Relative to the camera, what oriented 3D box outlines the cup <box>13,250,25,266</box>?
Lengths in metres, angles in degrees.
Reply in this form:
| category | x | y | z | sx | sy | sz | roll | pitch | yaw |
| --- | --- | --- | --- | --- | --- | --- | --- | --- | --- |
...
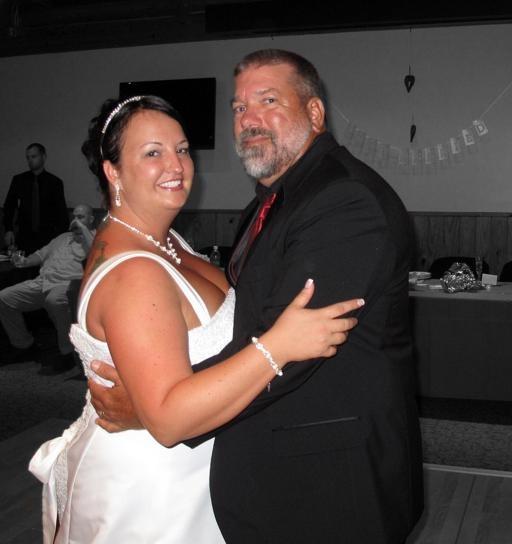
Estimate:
| category | x | y | z | sx | sy | sz | roll | pitch | yaw |
| --- | --- | --- | --- | --- | --- | --- | --- | --- | --- |
| cup | -2.714 | -0.140 | 5.214 | 0.095 | 0.180 | 0.166 | 0 | 1 | -4 |

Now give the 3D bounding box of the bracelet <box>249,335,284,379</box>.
| category | x | y | z | sx | sy | sz | roll | pitch | yaw |
| --- | --- | --- | --- | --- | --- | --- | --- | --- | --- |
| bracelet | 0.021 | 0.156 | 0.819 | 0.029 | 0.105 | 0.015 | -36 | 15 | -15 |
